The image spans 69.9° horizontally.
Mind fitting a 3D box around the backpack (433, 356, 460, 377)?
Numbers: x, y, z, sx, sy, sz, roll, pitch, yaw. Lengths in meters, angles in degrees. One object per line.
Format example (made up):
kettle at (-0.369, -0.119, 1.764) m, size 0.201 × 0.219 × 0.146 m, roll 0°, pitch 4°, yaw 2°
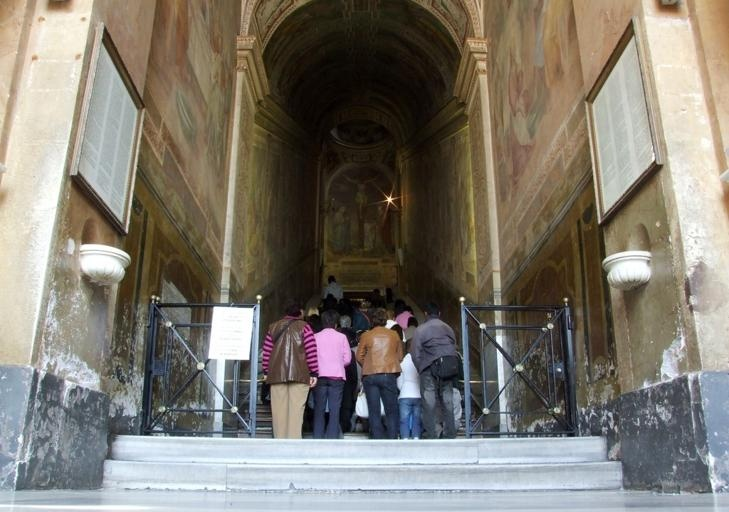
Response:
backpack at (1.020, 1.315, 6.479) m, size 0.311 × 0.330 × 0.234 m, roll 3°, pitch -9°, yaw -31°
